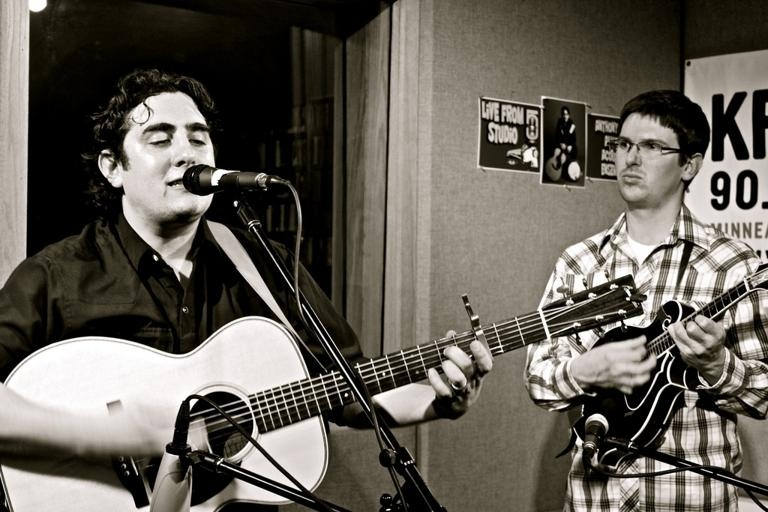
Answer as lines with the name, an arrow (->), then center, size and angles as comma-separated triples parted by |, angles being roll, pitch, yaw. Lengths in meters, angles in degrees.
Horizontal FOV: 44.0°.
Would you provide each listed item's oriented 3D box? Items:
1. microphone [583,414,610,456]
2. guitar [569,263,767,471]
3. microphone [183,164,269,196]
microphone -> 0.800, 0.669, 3.595 | 0.083, 0.092, 0.156 | 31, 27, 11
guitar -> 1.050, 0.483, 3.697 | 1.098, 0.453, 0.150 | -47, -22, 19
microphone -> -0.565, -0.264, 3.311 | 0.354, 0.127, 0.118 | 3, -21, 34
